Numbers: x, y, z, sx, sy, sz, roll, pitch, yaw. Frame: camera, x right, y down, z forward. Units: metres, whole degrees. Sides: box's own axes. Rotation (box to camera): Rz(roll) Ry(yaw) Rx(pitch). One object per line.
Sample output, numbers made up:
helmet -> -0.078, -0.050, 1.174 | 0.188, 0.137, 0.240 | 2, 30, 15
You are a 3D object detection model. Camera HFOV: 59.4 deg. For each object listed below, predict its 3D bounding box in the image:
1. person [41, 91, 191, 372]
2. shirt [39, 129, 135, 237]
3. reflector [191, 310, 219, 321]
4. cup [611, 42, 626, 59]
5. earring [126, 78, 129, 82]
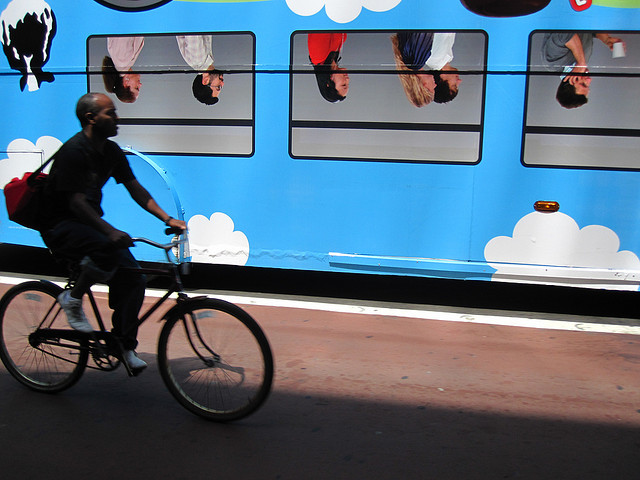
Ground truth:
person -> -1.504, -0.066, 4.054 | 0.756, 1.933, 0.670 | 13, 17, 41
shirt -> -1.680, -0.416, 4.104 | 0.352, 0.757, 0.610 | 13, 17, 40
reflector -> -0.798, 0.522, 3.874 | 0.180, 0.080, 0.014 | 3, 13, 6
cup -> 3.150, -2.002, 5.934 | 0.135, 0.135, 0.174 | -7, 5, -42
earring -> -2.394, -1.979, 6.944 | 0.044, 0.035, 0.022 | 1, 15, 4
